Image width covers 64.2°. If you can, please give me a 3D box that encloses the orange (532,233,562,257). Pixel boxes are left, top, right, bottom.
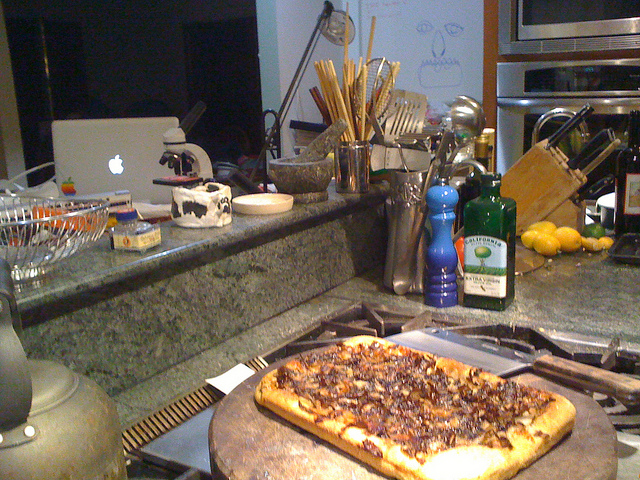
[{"bbox_3d":[0.699,0.016,1.570,0.057,0.062,0.078,5,12,-44],"label":"orange"}]

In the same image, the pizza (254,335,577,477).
[{"bbox_3d":[0.136,0.253,0.795,0.312,0.069,0.419,-10,19,-44],"label":"pizza"}]

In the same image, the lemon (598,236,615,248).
[{"bbox_3d":[0.914,0.005,1.615,0.035,0.022,0.037,4,7,24],"label":"lemon"}]

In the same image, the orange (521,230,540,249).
[{"bbox_3d":[0.668,-0.001,1.625,0.041,0.031,0.053,-4,13,27],"label":"orange"}]

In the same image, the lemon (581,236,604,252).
[{"bbox_3d":[0.860,0.014,1.600,0.042,0.032,0.048,8,7,-23],"label":"lemon"}]

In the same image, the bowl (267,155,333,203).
[{"bbox_3d":[-0.057,-0.182,1.388,0.126,0.086,0.132,-2,15,1],"label":"bowl"}]

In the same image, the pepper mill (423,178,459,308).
[{"bbox_3d":[0.304,0.018,1.261,0.099,0.291,0.066,5,12,12],"label":"pepper mill"}]

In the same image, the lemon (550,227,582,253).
[{"bbox_3d":[0.774,-0.004,1.589,0.086,0.070,0.068,16,40,37],"label":"lemon"}]

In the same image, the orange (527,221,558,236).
[{"bbox_3d":[0.721,-0.046,1.625,0.062,0.040,0.050,9,23,34],"label":"orange"}]

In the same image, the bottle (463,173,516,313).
[{"bbox_3d":[0.421,0.007,1.237,0.150,0.325,0.092,4,12,6],"label":"bottle"}]
